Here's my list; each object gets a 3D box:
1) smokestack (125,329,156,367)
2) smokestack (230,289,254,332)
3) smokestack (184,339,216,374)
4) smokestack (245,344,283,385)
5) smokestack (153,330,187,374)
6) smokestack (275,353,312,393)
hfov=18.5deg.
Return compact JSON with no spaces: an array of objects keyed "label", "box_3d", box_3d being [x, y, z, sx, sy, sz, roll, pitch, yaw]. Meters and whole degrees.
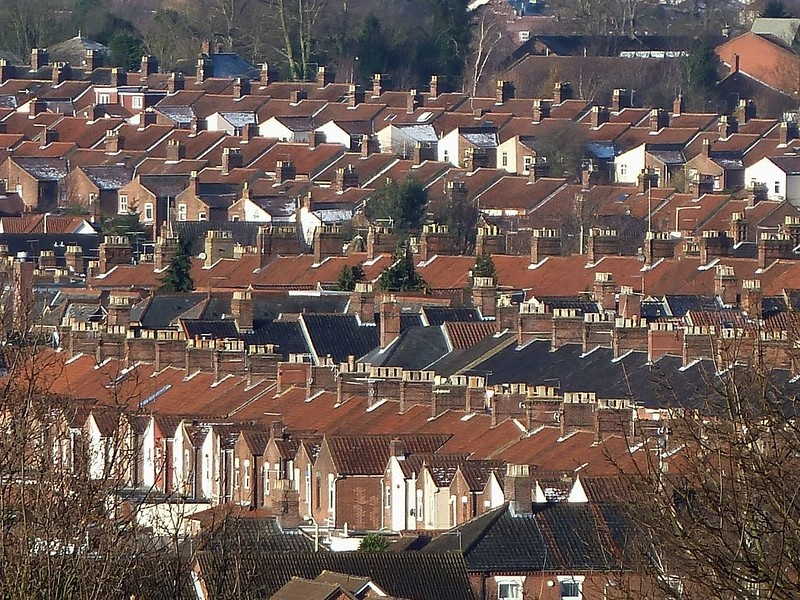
[{"label":"smokestack","box_3d":[-5.542,1.040,52.640,0.594,0.644,0.677,0,87,-7]},{"label":"smokestack","box_3d":[-3.288,0.263,52.516,0.597,0.371,0.861,-2,97,25]},{"label":"smokestack","box_3d":[-4.107,1.225,50.575,0.522,0.740,0.797,-1,92,1]},{"label":"smokestack","box_3d":[-2.713,1.423,48.677,0.574,0.502,0.926,1,74,-11]},{"label":"smokestack","box_3d":[-4.809,1.288,51.814,0.654,0.956,0.945,2,60,-12]},{"label":"smokestack","box_3d":[-2.052,1.619,47.501,0.885,0.570,1.033,0,97,-3]}]
